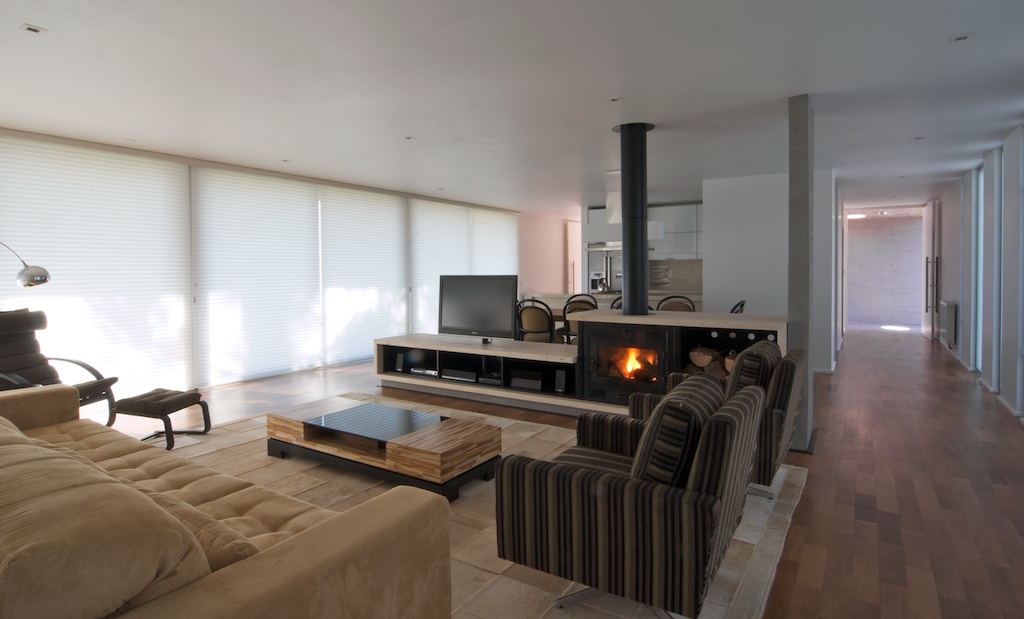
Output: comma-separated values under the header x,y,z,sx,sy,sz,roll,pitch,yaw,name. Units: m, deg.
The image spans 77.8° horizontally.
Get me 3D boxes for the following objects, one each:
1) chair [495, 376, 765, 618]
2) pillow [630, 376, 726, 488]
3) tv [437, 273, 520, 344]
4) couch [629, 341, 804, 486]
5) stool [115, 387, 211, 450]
x,y,z,sx,sy,sz,roll,pitch,yaw,name
0.750,0.967,4.325,1.581,1.089,1.579,0,0,33,chair
1.054,0.792,3.992,0.263,0.435,0.659,3,5,36,pillow
-0.398,0.000,7.500,0.909,0.595,0.097,0,1,31,tv
1.647,0.831,5.210,1.273,1.039,1.176,0,2,41,couch
-3.305,0.902,6.069,0.799,0.470,0.574,1,1,25,stool
